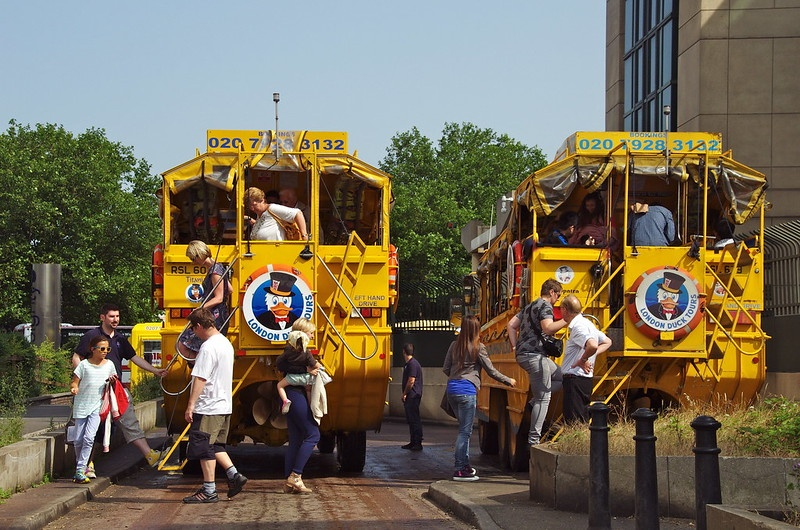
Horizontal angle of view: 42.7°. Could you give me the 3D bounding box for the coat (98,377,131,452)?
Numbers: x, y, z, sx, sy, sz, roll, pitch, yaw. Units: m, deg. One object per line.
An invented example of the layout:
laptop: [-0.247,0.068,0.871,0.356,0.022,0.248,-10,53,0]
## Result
coat: [-4.714,2.422,16.886,0.455,1.228,0.296,6,-24,-29]

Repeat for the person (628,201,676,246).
person: [4.379,-0.744,18.206,0.824,0.788,0.438,4,27,22]

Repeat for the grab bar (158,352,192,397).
grab bar: [-3.721,1.845,17.061,0.472,0.759,0.205,10,6,-4]

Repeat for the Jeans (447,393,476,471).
Jeans: [1.054,2.828,17.503,0.456,1.297,1.147,0,-2,4]

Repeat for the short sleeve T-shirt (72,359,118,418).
short sleeve T-shirt: [-4.989,2.016,16.698,0.775,0.976,0.430,9,-20,-19]

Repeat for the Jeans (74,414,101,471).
Jeans: [-5.092,2.866,16.629,0.373,0.940,0.399,0,-2,-4]

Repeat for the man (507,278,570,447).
man: [2.377,1.675,17.105,1.043,2.852,1.100,6,-9,-35]

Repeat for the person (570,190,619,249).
person: [3.656,-0.836,19.261,0.940,1.248,0.764,-2,-25,10]

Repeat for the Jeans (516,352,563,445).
Jeans: [2.336,2.166,16.891,0.670,1.430,0.531,2,-2,-32]

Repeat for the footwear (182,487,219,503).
footwear: [-3.029,3.553,15.829,0.608,0.255,0.217,2,-5,0]

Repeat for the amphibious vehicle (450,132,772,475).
amphibious vehicle: [4.306,0.214,21.162,4.926,5.517,7.901,1,-1,-3]

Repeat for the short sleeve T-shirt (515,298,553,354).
short sleeve T-shirt: [2.228,0.982,17.056,0.443,0.966,1.114,6,0,-23]

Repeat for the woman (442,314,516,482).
woman: [1.287,2.257,17.443,1.217,2.679,1.068,2,-8,20]

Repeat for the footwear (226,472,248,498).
footwear: [-2.534,3.391,15.926,0.269,0.520,0.199,23,35,-5]

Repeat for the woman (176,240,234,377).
woman: [-3.265,0.891,17.376,1.015,0.763,1.886,5,12,-13]

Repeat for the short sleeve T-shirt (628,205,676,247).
short sleeve T-shirt: [4.380,-0.584,18.211,0.887,0.824,0.487,-7,-22,21]

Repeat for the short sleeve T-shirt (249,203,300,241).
short sleeve T-shirt: [-2.143,-0.692,17.541,0.700,0.561,0.650,0,-11,-25]

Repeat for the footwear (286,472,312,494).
footwear: [-1.618,3.496,16.462,0.402,0.335,0.320,1,-2,-7]

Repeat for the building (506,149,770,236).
building: [4.750,-1.239,18.509,1.332,1.342,5.125,26,-14,-37]

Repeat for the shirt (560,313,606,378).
shirt: [3.041,1.274,16.931,0.812,1.230,1.552,0,-2,9]

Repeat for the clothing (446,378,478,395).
clothing: [1.026,2.062,17.076,0.320,0.186,0.317,15,-16,-42]

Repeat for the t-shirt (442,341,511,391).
t-shirt: [1.202,1.697,17.427,1.327,0.809,0.810,2,-12,31]

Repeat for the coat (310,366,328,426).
coat: [-1.291,2.201,16.518,0.181,0.571,0.204,-5,-13,16]
